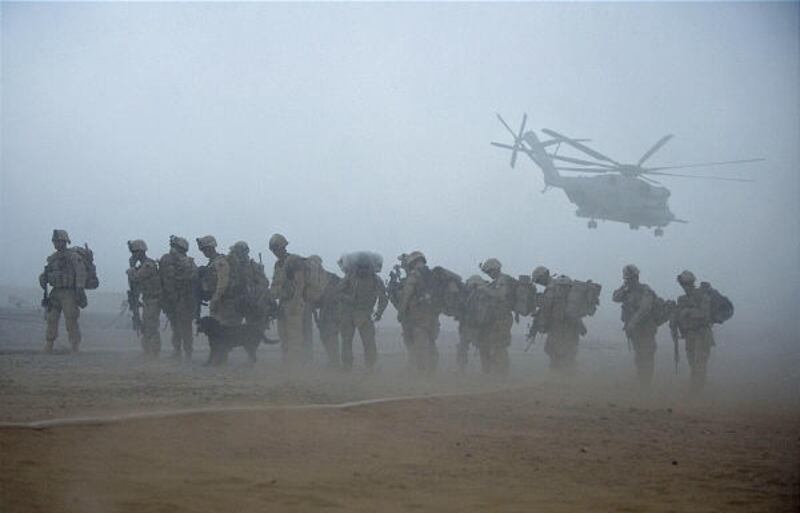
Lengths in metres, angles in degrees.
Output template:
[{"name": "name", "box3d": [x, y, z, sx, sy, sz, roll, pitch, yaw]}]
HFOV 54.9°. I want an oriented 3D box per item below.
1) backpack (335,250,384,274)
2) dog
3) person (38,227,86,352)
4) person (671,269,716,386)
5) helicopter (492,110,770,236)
[{"name": "backpack", "box3d": [-1.002, 0.163, 20.660, 0.826, 0.393, 1.095, 1, 0, 20]}, {"name": "dog", "box3d": [-4.283, 2.035, 19.345, 2.996, 1.808, 1.144, 1, -4, 9]}, {"name": "person", "box3d": [-8.808, 0.934, 19.941, 1.292, 3.194, 1.172, 0, -3, 5]}, {"name": "person", "box3d": [7.062, 1.863, 18.572, 1.129, 3.354, 1.188, -5, -11, 44]}, {"name": "helicopter", "box3d": [8.331, -3.103, 31.983, 7.613, 3.254, 10.167, -24, 30, -34]}]
